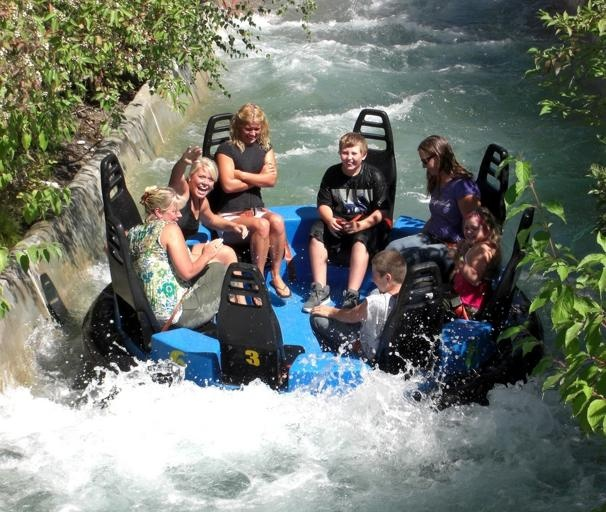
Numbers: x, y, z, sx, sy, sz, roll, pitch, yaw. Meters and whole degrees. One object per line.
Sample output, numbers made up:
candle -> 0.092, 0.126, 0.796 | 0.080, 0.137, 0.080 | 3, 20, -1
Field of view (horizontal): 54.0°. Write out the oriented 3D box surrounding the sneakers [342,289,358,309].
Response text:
sneakers -> 0.398, 0.362, 4.968 | 0.157, 0.166, 0.114 | -1, 17, 1

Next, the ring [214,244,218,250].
ring -> -0.665, -0.069, 4.540 | 0.041, 0.039, 0.010 | 2, -9, -34

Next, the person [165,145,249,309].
person -> -0.818, -0.331, 5.107 | 0.662, 1.190, 0.684 | -6, 5, -6

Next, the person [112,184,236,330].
person -> -0.998, 0.037, 4.523 | 0.664, 1.146, 0.490 | -34, 51, -31

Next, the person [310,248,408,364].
person -> 0.518, 0.331, 4.399 | 0.321, 0.823, 0.778 | -14, 25, -23

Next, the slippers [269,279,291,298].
slippers -> -0.204, 0.307, 5.410 | 0.103, 0.058, 0.216 | -30, 78, -23
